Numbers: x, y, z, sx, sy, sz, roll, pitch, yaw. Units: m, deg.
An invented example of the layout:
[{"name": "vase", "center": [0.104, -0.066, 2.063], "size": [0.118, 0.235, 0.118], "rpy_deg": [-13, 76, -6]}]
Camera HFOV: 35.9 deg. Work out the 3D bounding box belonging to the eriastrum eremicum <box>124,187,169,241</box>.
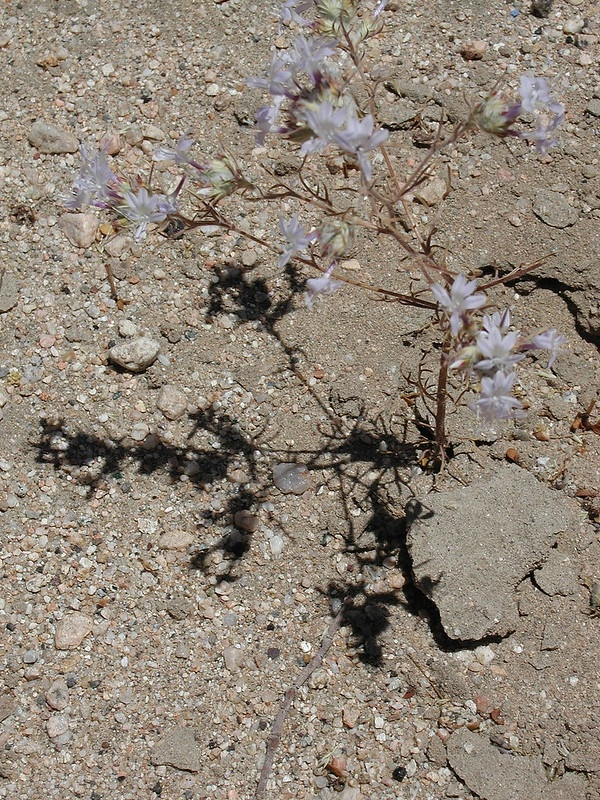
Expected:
[{"name": "eriastrum eremicum", "center": [-0.464, -0.566, 2.783], "size": [0.179, 0.158, 0.051], "rpy_deg": [10, 23, -3]}]
